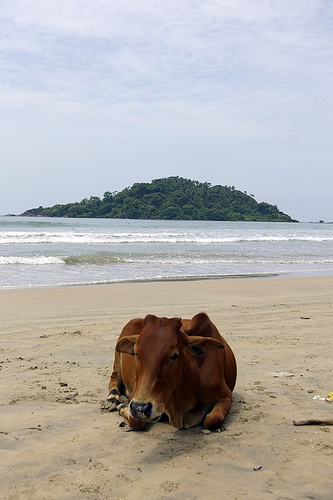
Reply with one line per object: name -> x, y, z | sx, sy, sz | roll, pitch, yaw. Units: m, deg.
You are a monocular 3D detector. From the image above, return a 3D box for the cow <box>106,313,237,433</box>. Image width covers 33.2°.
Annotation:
cow -> 0.033, 0.900, 3.930 | 0.697, 0.564, 1.186 | 0, -9, 10
